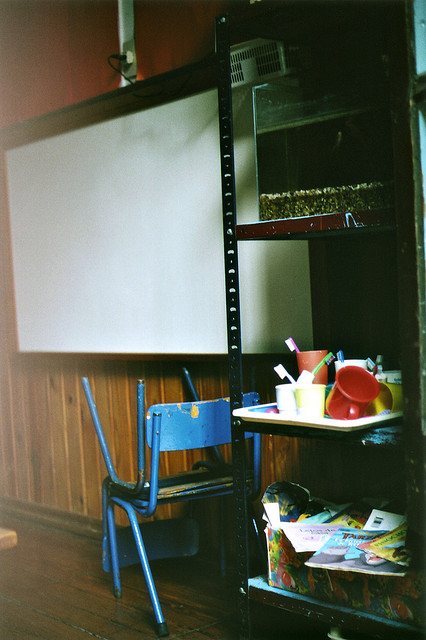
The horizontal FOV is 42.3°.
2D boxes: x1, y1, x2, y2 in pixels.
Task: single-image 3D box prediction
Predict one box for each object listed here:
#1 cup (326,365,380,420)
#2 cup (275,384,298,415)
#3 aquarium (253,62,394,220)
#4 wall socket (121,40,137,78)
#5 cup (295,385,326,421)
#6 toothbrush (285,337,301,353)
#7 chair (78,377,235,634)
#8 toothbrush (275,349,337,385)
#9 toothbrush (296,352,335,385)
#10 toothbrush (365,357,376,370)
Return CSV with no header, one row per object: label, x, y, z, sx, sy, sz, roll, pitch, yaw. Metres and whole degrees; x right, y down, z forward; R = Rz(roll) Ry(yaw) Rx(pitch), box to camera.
cup,0.275,0.146,1.089,0.074,0.079,0.118,25,47,-2
cup,0.158,0.166,1.148,0.036,0.062,0.094,-1,-5,-18
aquarium,0.267,-0.397,1.284,0.315,0.308,0.167,1,11,5
wall socket,-0.378,-1.164,2.443,0.093,0.163,0.026,-6,-6,37
cup,0.196,0.163,1.092,0.058,0.068,0.060,-6,-2,0
toothbrush,0.236,0.073,1.616,0.012,0.049,0.053,-23,19,7
chair,-0.230,0.589,2.048,0.522,0.742,1.110,0,-5,-26
toothbrush,0.241,0.119,1.403,0.033,0.051,0.187,7,-43,-44
toothbrush,0.239,0.112,1.274,0.025,0.029,0.132,27,45,18
toothbrush,0.356,0.097,1.241,0.007,0.027,0.026,-32,42,-13
